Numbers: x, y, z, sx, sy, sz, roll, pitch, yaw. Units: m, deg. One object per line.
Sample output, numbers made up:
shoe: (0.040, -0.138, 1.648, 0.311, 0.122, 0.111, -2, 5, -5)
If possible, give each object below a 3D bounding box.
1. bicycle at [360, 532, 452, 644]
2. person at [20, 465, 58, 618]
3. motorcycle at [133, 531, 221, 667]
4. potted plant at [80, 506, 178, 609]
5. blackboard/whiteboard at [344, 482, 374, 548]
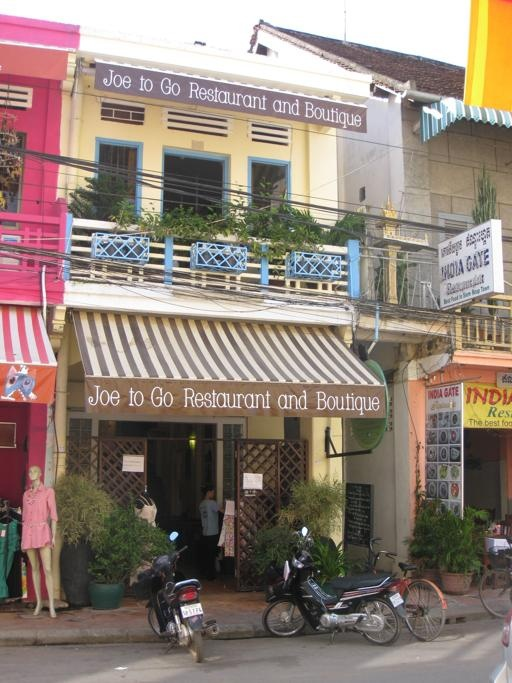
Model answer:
bicycle: (1.698, 3.014, 10.896, 0.684, 1.050, 1.689, 7, -12, -33)
person: (-2.800, 2.555, 11.520, 0.456, 1.893, 0.826, 0, -5, -13)
motorcycle: (-0.873, 2.793, 9.798, 0.844, 1.276, 1.576, 0, -5, -8)
potted plant: (-2.017, 2.914, 12.057, 0.844, 1.277, 1.092, -7, -16, 39)
blackboard/whiteboard: (1.580, 2.625, 13.539, 0.088, 1.324, 0.955, 5, -7, -21)
